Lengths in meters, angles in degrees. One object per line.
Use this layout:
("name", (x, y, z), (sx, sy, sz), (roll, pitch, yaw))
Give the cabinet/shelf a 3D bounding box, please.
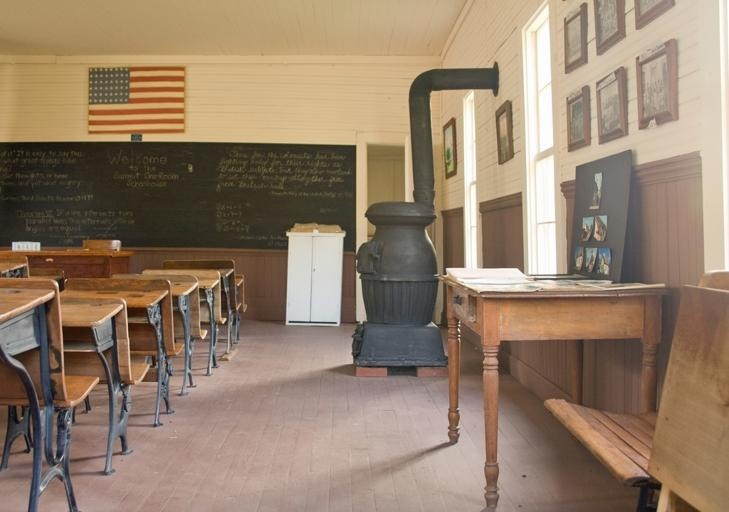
("cabinet/shelf", (-0.691, 0.297, 7.611), (0.745, 1.289, 0.221), (0, 4, 11))
